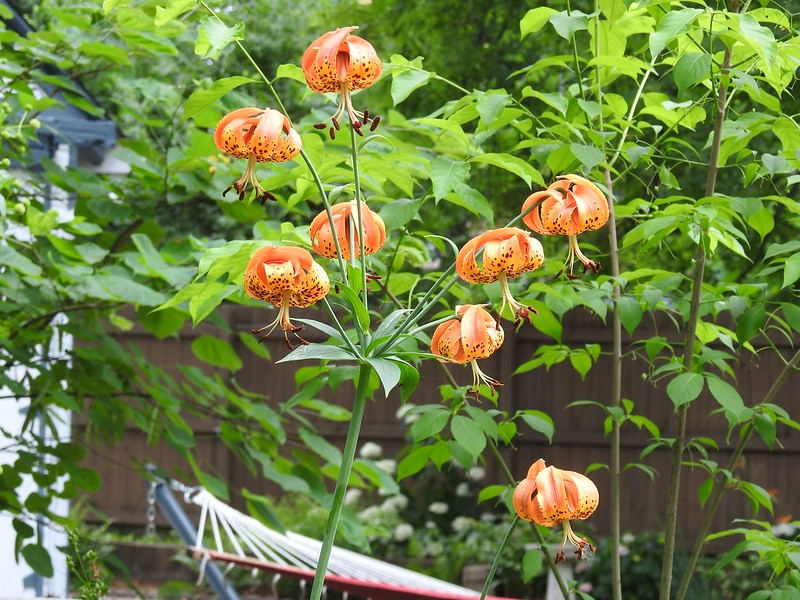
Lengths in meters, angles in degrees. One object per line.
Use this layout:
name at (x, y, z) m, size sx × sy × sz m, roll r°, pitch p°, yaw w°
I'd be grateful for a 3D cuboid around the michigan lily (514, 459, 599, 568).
michigan lily at (0.616, 0.848, 6.546) m, size 0.340 × 0.399 × 0.318 m, roll 7°, pitch -7°, yaw 5°

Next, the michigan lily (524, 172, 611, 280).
michigan lily at (0.679, -0.288, 6.500) m, size 0.355 × 0.372 × 0.319 m, roll -12°, pitch -13°, yaw 24°

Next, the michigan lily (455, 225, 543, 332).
michigan lily at (0.428, -0.082, 6.481) m, size 0.362 × 0.396 × 0.404 m, roll -8°, pitch -9°, yaw 11°

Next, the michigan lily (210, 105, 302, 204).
michigan lily at (-0.569, -0.557, 6.452) m, size 0.307 × 0.337 × 0.343 m, roll 12°, pitch -11°, yaw -29°

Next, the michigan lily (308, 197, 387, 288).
michigan lily at (-0.191, -0.252, 6.473) m, size 0.319 × 0.299 × 0.271 m, roll 9°, pitch -7°, yaw -11°

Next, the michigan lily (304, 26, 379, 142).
michigan lily at (-0.215, -0.852, 6.418) m, size 0.289 × 0.365 × 0.253 m, roll -3°, pitch -4°, yaw -14°

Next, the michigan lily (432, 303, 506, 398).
michigan lily at (0.269, 0.202, 6.531) m, size 0.284 × 0.351 × 0.283 m, roll -10°, pitch -2°, yaw 20°

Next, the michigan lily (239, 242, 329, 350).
michigan lily at (-0.465, -0.009, 6.539) m, size 0.387 × 0.441 × 0.385 m, roll 2°, pitch 1°, yaw 43°
